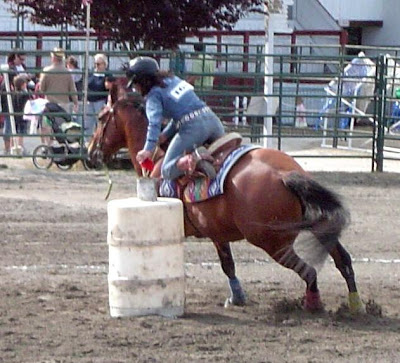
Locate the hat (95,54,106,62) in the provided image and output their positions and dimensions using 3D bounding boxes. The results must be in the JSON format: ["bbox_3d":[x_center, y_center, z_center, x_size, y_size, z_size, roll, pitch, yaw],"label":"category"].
[{"bbox_3d":[-1.822,-2.251,20.589,0.137,0.130,0.151,-2,9,-26],"label":"hat"}]

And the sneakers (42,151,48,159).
[{"bbox_3d":[-2.783,-0.487,20.165,0.045,0.119,0.131,0,4,-32],"label":"sneakers"}]

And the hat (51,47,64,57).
[{"bbox_3d":[-2.551,-2.287,20.126,0.235,0.152,1.042,0,7,-7],"label":"hat"}]

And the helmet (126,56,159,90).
[{"bbox_3d":[-0.796,-1.457,14.858,0.494,0.330,0.389,-20,3,-8],"label":"helmet"}]

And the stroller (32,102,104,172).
[{"bbox_3d":[-2.417,-0.759,20.386,1.095,1.463,0.776,-6,-18,-1],"label":"stroller"}]

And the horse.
[{"bbox_3d":[0.352,-0.105,16.897,4.330,2.909,5.499,2,7,11],"label":"horse"}]
